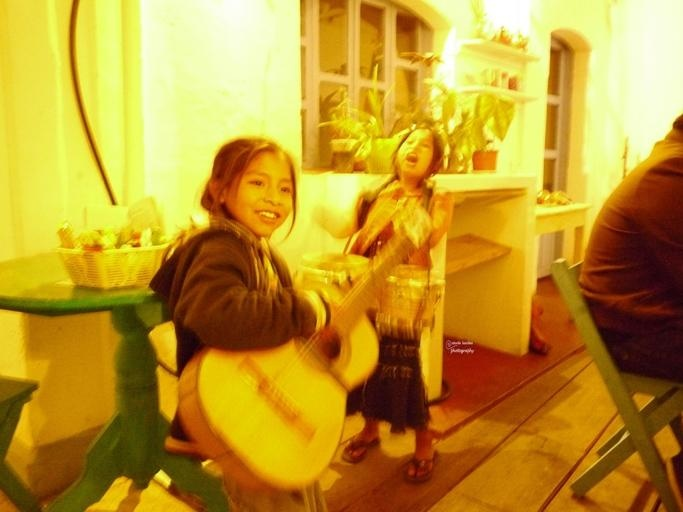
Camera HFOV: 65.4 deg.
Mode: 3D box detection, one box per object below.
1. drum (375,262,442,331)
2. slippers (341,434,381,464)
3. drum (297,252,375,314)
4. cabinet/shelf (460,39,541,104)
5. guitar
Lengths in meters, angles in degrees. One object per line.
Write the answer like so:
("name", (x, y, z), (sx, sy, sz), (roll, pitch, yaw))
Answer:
("drum", (0.257, 0.151, 2.176), (0.217, 0.263, 0.262), (4, 6, -2))
("slippers", (0.071, 0.845, 2.368), (0.073, 0.062, 0.162), (17, 13, 35))
("drum", (-0.038, 0.060, 1.914), (0.198, 0.203, 0.206), (16, 10, 19))
("cabinet/shelf", (1.131, -1.294, 3.791), (0.188, 0.378, 0.945), (13, 18, 42))
("guitar", (-0.068, 0.318, 1.703), (0.345, 0.524, 0.898), (10, 16, 33))
